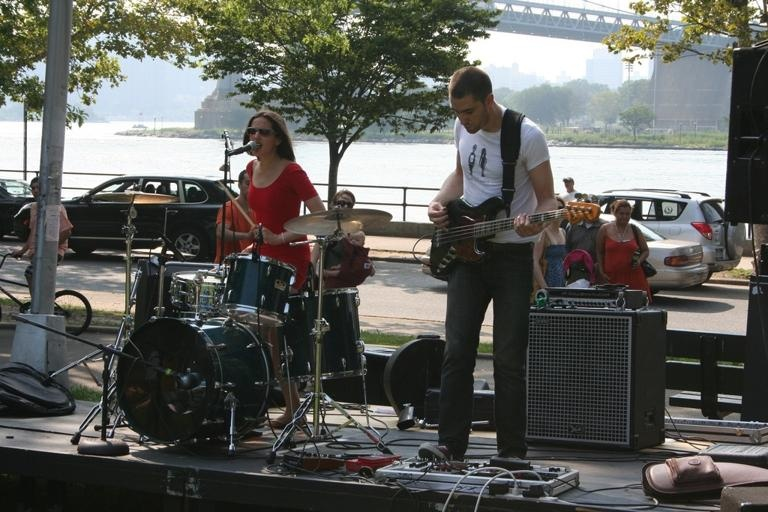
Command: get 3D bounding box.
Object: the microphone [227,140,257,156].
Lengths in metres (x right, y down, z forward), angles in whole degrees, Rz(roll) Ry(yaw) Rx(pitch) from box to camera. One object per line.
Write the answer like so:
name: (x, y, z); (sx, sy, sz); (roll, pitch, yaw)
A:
microphone: (-1.817, -1.332, 17.492); (0.479, 0.150, 0.153); (-16, -12, 40)

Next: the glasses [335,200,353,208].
glasses: (-0.563, -0.735, 19.841); (0.186, 0.053, 0.182); (1, -5, -1)

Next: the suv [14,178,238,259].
suv: (-6.159, -0.822, 29.174); (5.707, 1.738, 2.316); (3, 1, 8)

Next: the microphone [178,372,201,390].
microphone: (-2.349, 1.515, 17.054); (0.290, 0.204, 0.034); (0, 3, 12)

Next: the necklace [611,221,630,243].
necklace: (3.653, -0.364, 21.509); (0.262, 0.316, 0.080); (1, -2, 6)

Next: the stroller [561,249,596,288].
stroller: (2.977, 0.275, 21.141); (0.525, 0.698, 0.569); (3, -5, 19)

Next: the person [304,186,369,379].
person: (-0.617, 0.220, 19.198); (0.731, 2.303, 0.740); (0, 0, 1)

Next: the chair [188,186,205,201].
chair: (-3.935, -1.282, 29.327); (0.271, 0.338, 0.131); (-7, -1, 0)

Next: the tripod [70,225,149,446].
tripod: (-3.390, 1.059, 17.602); (0.892, 2.704, 0.855); (1, -1, -19)

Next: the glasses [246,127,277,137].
glasses: (-1.537, -1.558, 17.529); (0.329, 0.097, 0.093); (0, 3, -4)

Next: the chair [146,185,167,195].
chair: (-4.687, -1.394, 28.863); (0.431, 0.194, 1.637); (-1, 2, -9)

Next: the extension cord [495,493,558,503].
extension cord: (1.675, 2.822, 16.264); (0.730, 0.096, 0.066); (0, 3, 3)
